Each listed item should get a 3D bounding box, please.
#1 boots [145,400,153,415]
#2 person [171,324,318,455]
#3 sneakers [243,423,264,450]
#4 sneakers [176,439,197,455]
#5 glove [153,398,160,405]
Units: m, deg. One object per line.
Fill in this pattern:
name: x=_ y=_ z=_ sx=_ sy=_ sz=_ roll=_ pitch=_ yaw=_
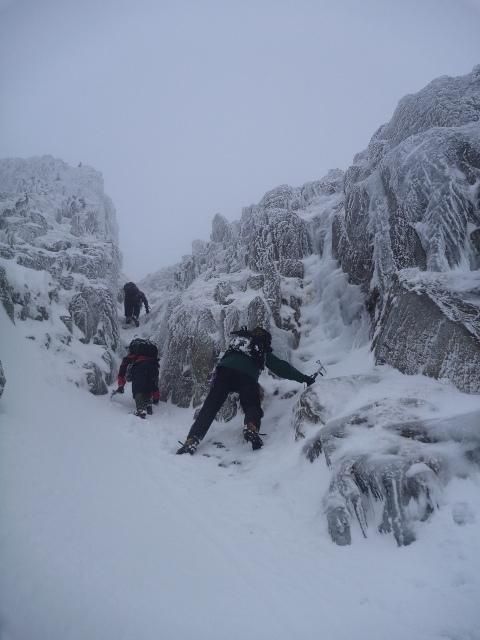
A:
boots: x=-1.331 y=1.280 z=9.410 sx=0.121 sy=0.236 sz=0.128 roll=0 pitch=39 yaw=-1
person: x=0.286 y=0.832 z=7.817 sx=1.442 sy=0.843 sz=1.827 roll=-27 pitch=43 yaw=-36
sneakers: x=0.136 y=1.252 z=6.919 sx=0.143 sy=0.309 sz=0.137 roll=-8 pitch=0 yaw=15
sneakers: x=-0.541 y=1.321 z=6.655 sx=0.141 sy=0.074 sz=0.154 roll=-6 pitch=-4 yaw=6
glove: x=-1.315 y=1.277 z=10.134 sx=0.101 sy=0.116 sz=0.102 roll=5 pitch=7 yaw=23
